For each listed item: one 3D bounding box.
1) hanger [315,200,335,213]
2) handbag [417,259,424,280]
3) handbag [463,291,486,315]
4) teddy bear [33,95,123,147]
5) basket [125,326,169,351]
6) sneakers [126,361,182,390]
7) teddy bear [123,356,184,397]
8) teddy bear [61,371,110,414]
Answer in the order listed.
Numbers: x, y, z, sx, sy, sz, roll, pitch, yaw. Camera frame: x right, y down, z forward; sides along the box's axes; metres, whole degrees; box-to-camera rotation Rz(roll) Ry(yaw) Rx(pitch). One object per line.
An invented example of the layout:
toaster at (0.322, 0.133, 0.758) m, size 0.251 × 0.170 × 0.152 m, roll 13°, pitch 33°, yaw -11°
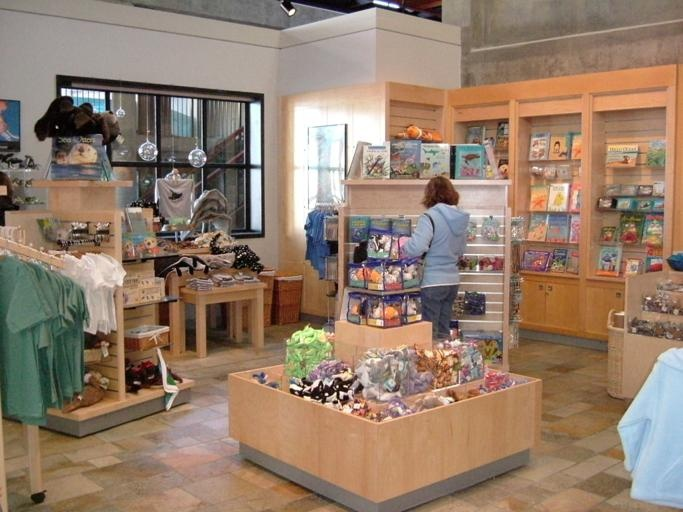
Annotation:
hanger at (-0.271, -0.820, 8.843) m, size 0.214 × 0.179 × 0.529 m, roll -2°, pitch 8°, yaw -21°
handbag at (0.771, 0.135, 5.305) m, size 0.066 × 0.205 × 0.158 m, roll -4°, pitch 9°, yaw 5°
handbag at (1.524, 0.537, 6.203) m, size 0.254 × 0.236 × 0.134 m, roll 2°, pitch 6°, yaw 5°
teddy bear at (-2.735, -1.323, 5.688) m, size 0.880 × 0.389 × 0.728 m, roll 2°, pitch -5°, yaw 43°
basket at (-1.936, 0.810, 5.431) m, size 0.270 × 0.123 × 0.321 m, roll 0°, pitch 0°, yaw 36°
sneakers at (-1.865, 1.211, 5.519) m, size 0.587 × 0.217 × 0.191 m, roll -3°, pitch -2°, yaw -26°
teddy bear at (-1.882, 1.213, 5.555) m, size 0.647 × 0.242 × 0.213 m, roll -2°, pitch -2°, yaw -35°
teddy bear at (-2.332, 1.240, 4.990) m, size 0.288 × 0.172 × 0.499 m, roll 11°, pitch 16°, yaw 4°
